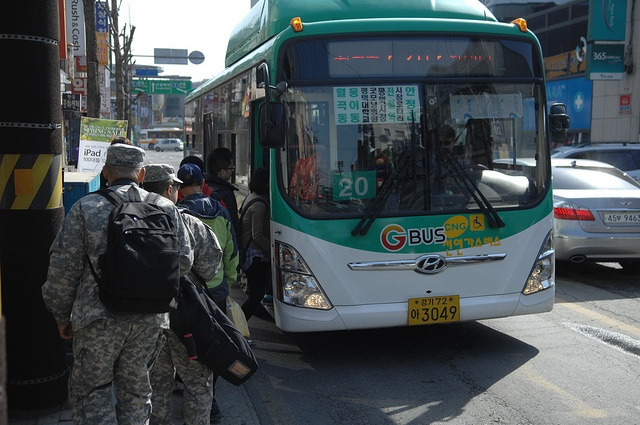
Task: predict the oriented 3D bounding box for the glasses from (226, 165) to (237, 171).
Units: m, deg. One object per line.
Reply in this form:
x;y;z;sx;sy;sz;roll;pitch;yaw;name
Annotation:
-1.299;-0.662;8.064;0.168;0.054;0.173;0;2;38;glasses
